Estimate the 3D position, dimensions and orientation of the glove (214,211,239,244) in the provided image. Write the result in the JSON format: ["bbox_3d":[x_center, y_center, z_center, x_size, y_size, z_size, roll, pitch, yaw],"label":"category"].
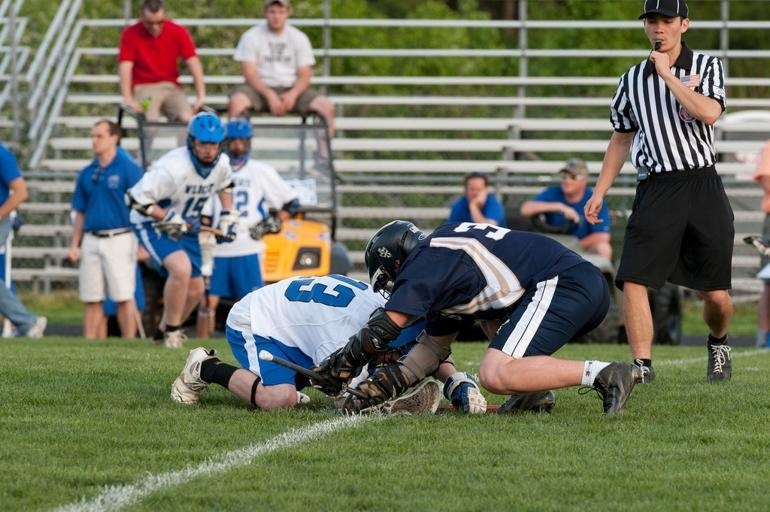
[{"bbox_3d":[-1.829,-0.344,19.256,0.344,0.447,0.328,3,9,-4],"label":"glove"}]

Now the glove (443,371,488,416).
[{"bbox_3d":[0.768,1.333,16.246,0.474,0.265,0.221,50,13,29],"label":"glove"}]

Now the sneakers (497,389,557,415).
[{"bbox_3d":[1.362,1.406,16.102,0.359,0.136,0.285,-5,1,8],"label":"sneakers"}]

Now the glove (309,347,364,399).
[{"bbox_3d":[-0.482,1.091,15.997,0.541,0.385,0.235,-36,15,25],"label":"glove"}]

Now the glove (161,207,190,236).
[{"bbox_3d":[-2.370,-0.366,18.718,0.320,0.230,0.148,37,11,-31],"label":"glove"}]

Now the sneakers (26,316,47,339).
[{"bbox_3d":[-4.090,0.809,19.388,0.133,0.309,0.182,16,-5,33],"label":"sneakers"}]

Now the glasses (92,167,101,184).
[{"bbox_3d":[-3.378,-0.956,19.527,0.146,0.141,0.054,4,-15,30],"label":"glasses"}]

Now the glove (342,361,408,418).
[{"bbox_3d":[-0.130,1.295,16.073,0.631,0.270,0.375,-28,33,4],"label":"glove"}]

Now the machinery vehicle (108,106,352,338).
[{"bbox_3d":[-1.904,-0.740,21.387,2.061,2.698,3.062,4,20,-34],"label":"machinery vehicle"}]

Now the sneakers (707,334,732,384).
[{"bbox_3d":[3.385,1.046,17.125,0.189,0.527,0.222,-2,-3,20],"label":"sneakers"}]
